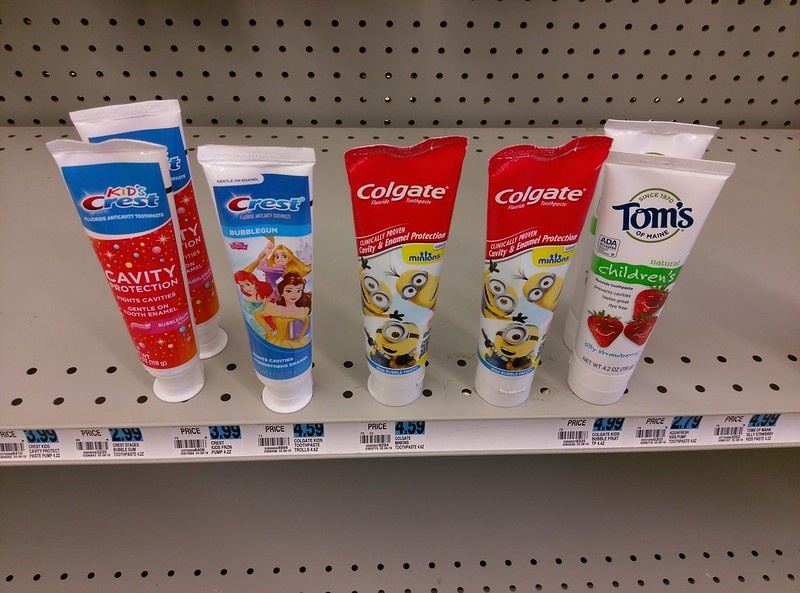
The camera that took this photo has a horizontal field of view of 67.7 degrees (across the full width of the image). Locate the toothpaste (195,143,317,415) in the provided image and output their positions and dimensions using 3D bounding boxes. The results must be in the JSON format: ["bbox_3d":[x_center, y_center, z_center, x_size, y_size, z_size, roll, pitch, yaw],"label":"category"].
[{"bbox_3d":[-0.183,-0.019,0.849,0.148,0.344,0.176,-4,41,-5],"label":"toothpaste"}]

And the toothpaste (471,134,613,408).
[{"bbox_3d":[0.190,-0.027,0.854,0.158,0.358,0.173,7,41,8],"label":"toothpaste"}]
